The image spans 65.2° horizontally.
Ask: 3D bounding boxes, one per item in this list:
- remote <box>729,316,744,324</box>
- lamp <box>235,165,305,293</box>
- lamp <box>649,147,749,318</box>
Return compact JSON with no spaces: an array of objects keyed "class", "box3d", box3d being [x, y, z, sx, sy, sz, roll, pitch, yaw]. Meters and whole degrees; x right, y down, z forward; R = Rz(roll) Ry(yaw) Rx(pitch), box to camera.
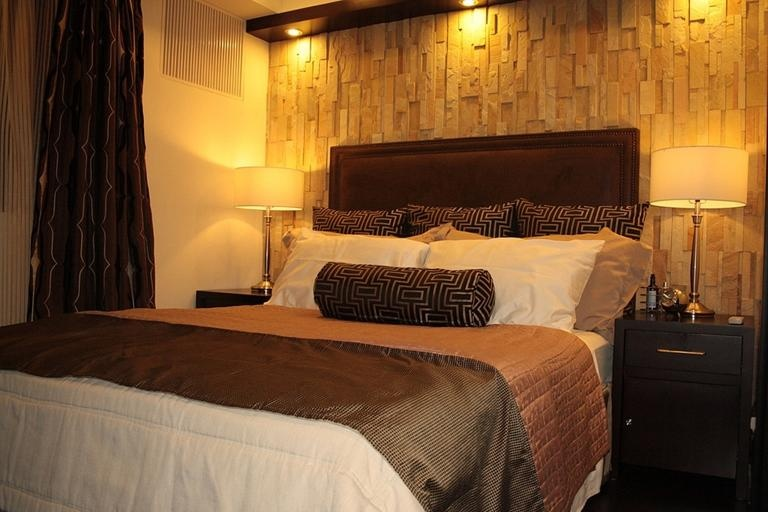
[{"class":"remote","box3d":[1.855,0.346,3.166,0.044,0.017,0.080,-3,2,20]},{"class":"lamp","box3d":[-0.935,-0.172,4.813,0.544,0.930,0.556,-3,-8,40]},{"class":"lamp","box3d":[1.839,-0.152,3.547,0.548,0.949,0.415,-2,4,-20]}]
